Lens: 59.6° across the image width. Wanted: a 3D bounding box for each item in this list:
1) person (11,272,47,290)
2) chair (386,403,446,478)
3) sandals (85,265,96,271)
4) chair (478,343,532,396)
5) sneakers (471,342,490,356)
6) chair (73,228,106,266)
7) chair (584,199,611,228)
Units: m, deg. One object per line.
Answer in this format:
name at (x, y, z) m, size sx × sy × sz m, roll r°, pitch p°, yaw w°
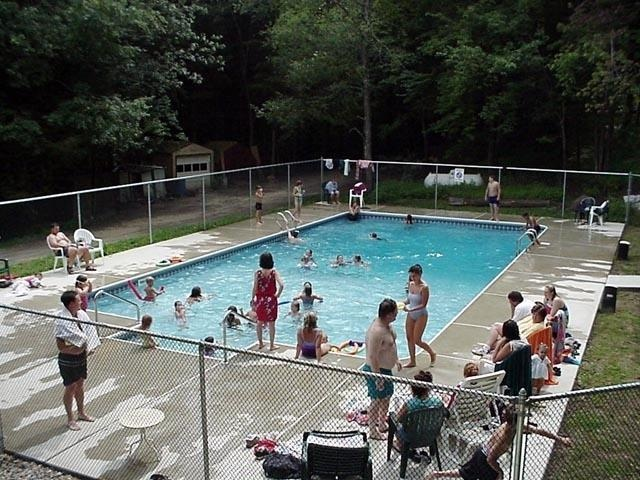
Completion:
person at (-8.461, 1.207, 16.100) m, size 0.773 × 0.351 × 1.021 m, roll 6°, pitch 12°, yaw 37°
chair at (1.306, 2.717, 7.520) m, size 0.707 × 1.039 × 0.717 m, roll -6°, pitch 21°, yaw -12°
sandals at (-7.486, 0.913, 18.120) m, size 0.286 × 0.132 × 0.128 m, roll 3°, pitch 12°, yaw 4°
chair at (3.084, 2.159, 9.198) m, size 0.737 × 1.009 × 0.712 m, roll -9°, pitch 17°, yaw -33°
sneakers at (3.451, 2.326, 11.938) m, size 0.194 × 0.288 × 0.598 m, roll -1°, pitch 0°, yaw -9°
chair at (-7.894, 0.205, 18.712) m, size 0.834 × 1.039 × 0.877 m, roll -16°, pitch -11°, yaw 38°
chair at (12.258, -1.247, 24.660) m, size 0.540 × 1.925 × 0.744 m, roll 9°, pitch -1°, yaw 30°
